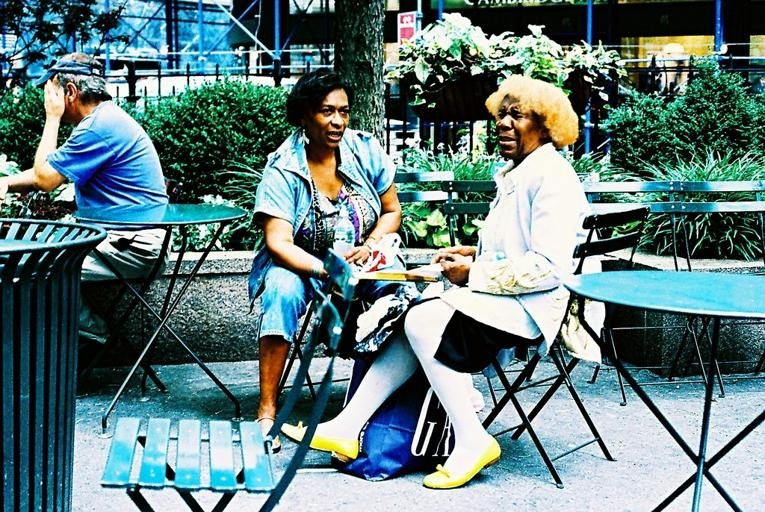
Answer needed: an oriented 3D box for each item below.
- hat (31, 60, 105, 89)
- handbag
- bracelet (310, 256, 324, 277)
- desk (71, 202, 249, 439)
[{"bbox_3d":[-2.171,-1.278,5.164,0.311,0.104,0.220,-2,5,0],"label":"hat"},{"bbox_3d":[0.099,0.959,4.387,0.755,0.730,0.517,4,-6,-22],"label":"handbag"},{"bbox_3d":[-0.363,0.056,4.325,0.110,0.108,0.110,-1,-2,5],"label":"bracelet"},{"bbox_3d":[-1.235,0.342,5.132,1.350,1.522,1.356,0,1,-29],"label":"desk"}]
